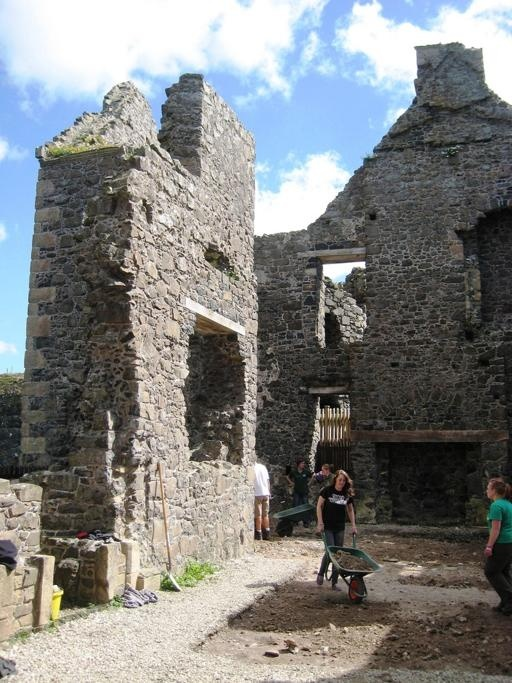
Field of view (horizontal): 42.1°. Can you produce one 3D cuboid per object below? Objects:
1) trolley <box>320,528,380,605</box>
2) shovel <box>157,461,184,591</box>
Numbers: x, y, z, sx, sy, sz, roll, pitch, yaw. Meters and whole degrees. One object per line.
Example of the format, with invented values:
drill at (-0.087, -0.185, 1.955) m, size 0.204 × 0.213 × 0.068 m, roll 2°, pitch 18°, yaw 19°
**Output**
trolley at (0.969, 2.398, 7.176) m, size 0.492 × 0.451 × 0.959 m, roll 7°, pitch 4°, yaw -16°
shovel at (-0.935, 1.967, 7.160) m, size 0.373 × 1.279 × 0.495 m, roll 6°, pitch -11°, yaw -8°
